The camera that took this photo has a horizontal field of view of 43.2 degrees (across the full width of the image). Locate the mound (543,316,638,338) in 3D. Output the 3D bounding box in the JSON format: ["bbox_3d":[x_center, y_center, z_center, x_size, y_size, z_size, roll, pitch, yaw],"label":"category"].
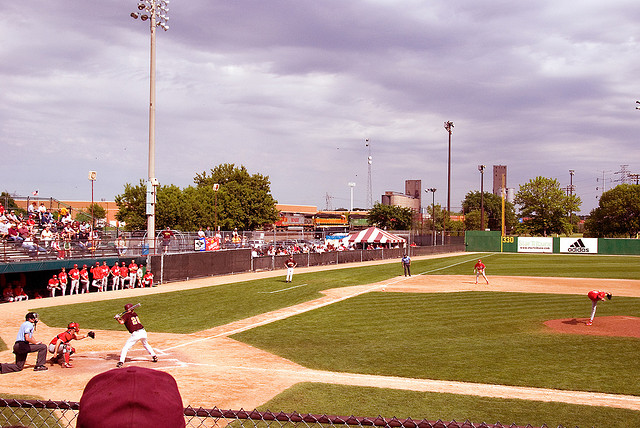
[{"bbox_3d":[14.234,5.789,41.787,4.977,0.159,3.699,-2,9,-11],"label":"mound"}]

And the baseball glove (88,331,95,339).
[{"bbox_3d":[-10.364,5.420,36.457,0.247,0.346,0.736,-3,9,-17],"label":"baseball glove"}]
